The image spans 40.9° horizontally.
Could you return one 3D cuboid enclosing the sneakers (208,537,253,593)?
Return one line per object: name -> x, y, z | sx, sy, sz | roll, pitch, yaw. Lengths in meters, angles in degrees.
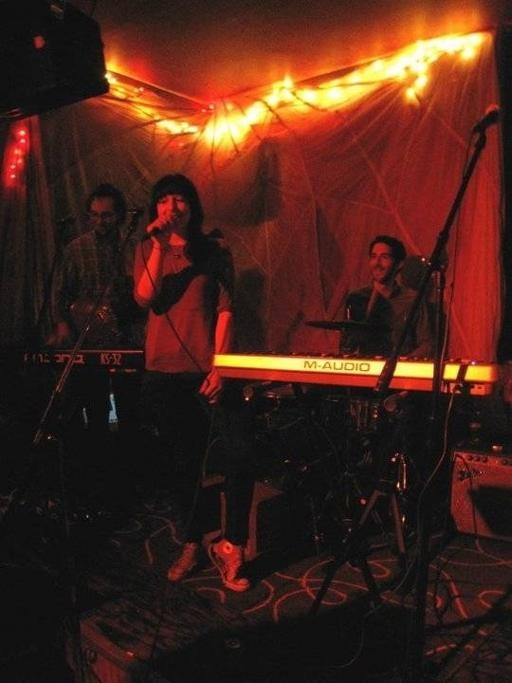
sneakers -> -0.109, 0.904, 2.835 | 0.101, 0.180, 0.274 | -5, 11, -19
